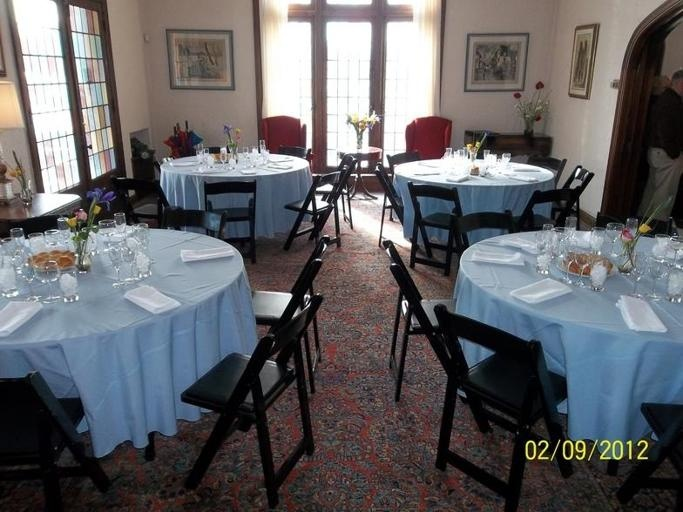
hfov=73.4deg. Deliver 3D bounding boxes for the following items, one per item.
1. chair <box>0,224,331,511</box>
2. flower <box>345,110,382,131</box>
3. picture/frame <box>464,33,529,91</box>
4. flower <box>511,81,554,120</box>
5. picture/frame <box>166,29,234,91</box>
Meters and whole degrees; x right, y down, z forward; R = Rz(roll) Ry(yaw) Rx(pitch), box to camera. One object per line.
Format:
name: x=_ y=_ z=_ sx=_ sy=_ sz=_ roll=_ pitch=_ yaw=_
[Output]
chair: x=-0.988 y=0.681 z=2.753 sx=1.173 sy=0.962 sz=1.186 roll=7 pitch=39 yaw=4
flower: x=0.287 y=-2.166 z=7.518 sx=0.542 sy=0.345 sz=0.563 roll=-9 pitch=25 yaw=-18
picture/frame: x=2.609 y=-3.318 z=7.752 sx=0.789 sy=0.823 sz=0.080 roll=1 pitch=22 yaw=-3
flower: x=3.186 y=-2.581 z=7.884 sx=0.665 sy=0.828 sz=0.625 roll=-11 pitch=23 yaw=-3
picture/frame: x=-2.422 y=-3.363 z=7.753 sx=0.907 sy=0.877 sz=0.099 roll=0 pitch=31 yaw=0
